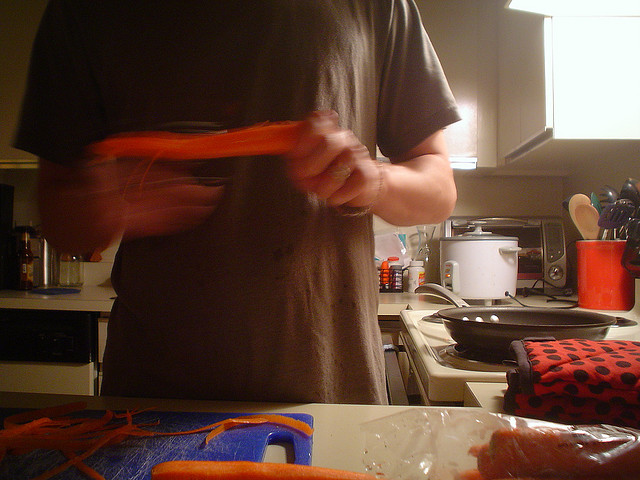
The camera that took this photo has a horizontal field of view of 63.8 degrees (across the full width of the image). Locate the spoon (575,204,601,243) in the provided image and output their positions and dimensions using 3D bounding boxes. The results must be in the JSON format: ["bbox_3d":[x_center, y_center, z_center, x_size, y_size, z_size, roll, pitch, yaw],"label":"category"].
[{"bbox_3d":[0.780,-0.049,1.493,0.021,0.099,0.068,-14,8,-35],"label":"spoon"}]

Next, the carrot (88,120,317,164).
[{"bbox_3d":[-0.178,-0.144,0.744,0.279,0.059,0.065,-2,-1,5],"label":"carrot"}]

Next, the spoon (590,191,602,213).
[{"bbox_3d":[0.839,-0.114,1.554,0.025,0.100,0.015,4,-25,4],"label":"spoon"}]

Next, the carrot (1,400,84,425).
[{"bbox_3d":[-0.404,0.246,0.751,0.100,0.008,0.034,-9,10,1],"label":"carrot"}]

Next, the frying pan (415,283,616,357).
[{"bbox_3d":[0.372,0.141,1.003,0.301,0.088,0.274,2,2,-20],"label":"frying pan"}]
